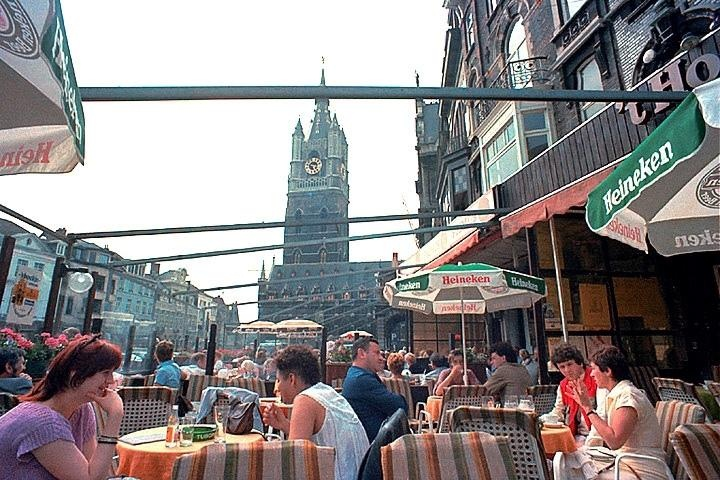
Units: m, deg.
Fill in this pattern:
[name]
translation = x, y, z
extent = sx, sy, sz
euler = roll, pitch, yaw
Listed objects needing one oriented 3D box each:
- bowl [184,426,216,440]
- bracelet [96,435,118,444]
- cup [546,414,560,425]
[bowl]
translation = -1.772, 2.175, 4.901
extent = 0.255, 0.057, 0.243
euler = 3, -10, 1
[bracelet]
translation = -2.070, 1.648, 3.575
extent = 0.110, 0.042, 0.101
euler = 4, -11, -12
[cup]
translation = 2.499, 2.340, 5.684
extent = 0.145, 0.135, 0.211
euler = 1, -19, -3
